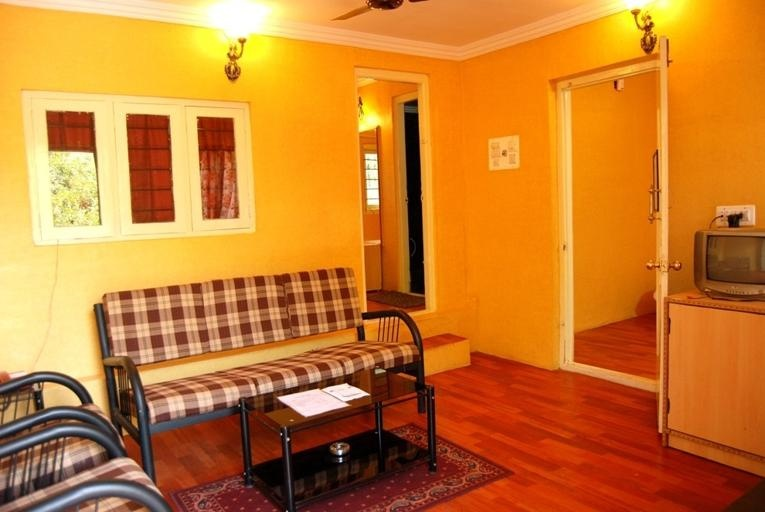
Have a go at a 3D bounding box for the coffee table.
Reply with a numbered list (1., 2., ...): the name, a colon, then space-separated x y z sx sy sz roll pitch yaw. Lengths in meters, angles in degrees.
1. coffee table: -0.318 1.345 3.958 1.479 0.689 0.813 -7 11 -39

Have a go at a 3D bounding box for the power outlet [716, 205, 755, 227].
1. power outlet: 2.773 -0.315 4.525 0.028 0.120 0.203 -2 2 -38
